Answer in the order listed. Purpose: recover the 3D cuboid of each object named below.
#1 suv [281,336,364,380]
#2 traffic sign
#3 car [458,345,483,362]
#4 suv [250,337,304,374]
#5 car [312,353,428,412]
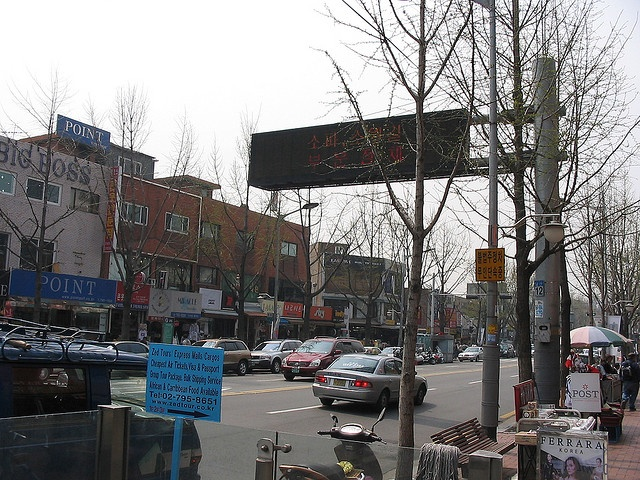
[{"bbox_3d":[0.261,5.209,28.628,1.655,1.544,3.618,-9,-17,31],"label":"suv"},{"bbox_3d":[-1.558,1.637,7.334,0.775,0.762,0.097,0,-9,22],"label":"traffic sign"},{"bbox_3d":[15.208,11.368,63.923,1.874,1.623,4.965,-4,-13,19],"label":"car"},{"bbox_3d":[-2.477,6.034,33.914,1.301,1.248,2.783,-8,-18,29],"label":"suv"},{"bbox_3d":[1.935,4.649,20.459,1.746,1.449,4.028,-5,-9,32],"label":"car"}]
